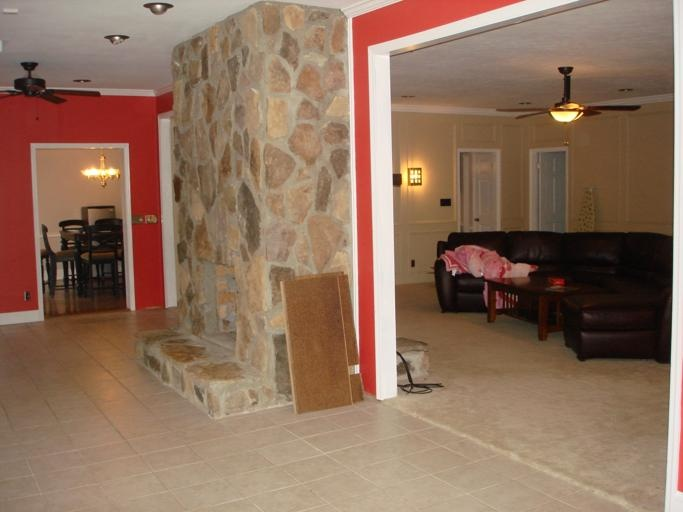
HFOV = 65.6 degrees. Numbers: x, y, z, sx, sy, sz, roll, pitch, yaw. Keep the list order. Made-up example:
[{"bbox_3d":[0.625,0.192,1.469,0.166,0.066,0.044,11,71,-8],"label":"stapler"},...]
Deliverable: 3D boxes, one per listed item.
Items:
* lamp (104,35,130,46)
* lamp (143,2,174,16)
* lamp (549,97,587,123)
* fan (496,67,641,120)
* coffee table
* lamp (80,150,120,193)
[{"bbox_3d":[-2.139,-2.051,5.033,0.138,0.032,0.133,-3,0,16],"label":"lamp"},{"bbox_3d":[-1.497,-2.000,4.346,0.234,0.076,0.327,-3,8,-17],"label":"lamp"},{"bbox_3d":[2.870,-1.814,6.736,0.454,0.202,0.445,3,5,31],"label":"lamp"},{"bbox_3d":[3.462,-2.464,7.982,1.173,0.443,0.995,0,2,-2],"label":"fan"},{"bbox_3d":[2.483,0.583,6.699,0.893,0.632,1.185,-3,8,-16],"label":"coffee table"},{"bbox_3d":[-5.084,-1.791,11.328,0.780,0.598,0.741,-7,13,-33],"label":"lamp"}]
